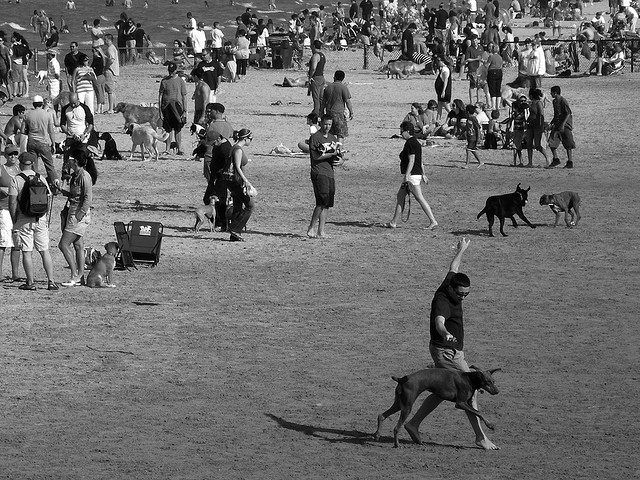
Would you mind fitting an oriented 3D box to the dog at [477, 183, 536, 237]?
[{"bbox_3d":[3.508,-0.530,25.595,1.628,0.866,0.444,-15,12,-43],"label":"dog"}]

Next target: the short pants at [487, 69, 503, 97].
[{"bbox_3d":[5.087,-4.584,39.382,0.402,0.828,0.513,-2,9,6],"label":"short pants"}]

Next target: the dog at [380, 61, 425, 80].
[{"bbox_3d":[3.204,-6.577,51.945,0.587,0.662,1.807,3,11,34],"label":"dog"}]

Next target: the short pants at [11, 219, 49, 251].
[{"bbox_3d":[-4.625,-0.088,21.827,0.517,0.487,0.265,1,-21,17],"label":"short pants"}]

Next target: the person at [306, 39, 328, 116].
[{"bbox_3d":[-0.159,-4.211,35.297,0.650,2.014,0.677,7,14,23],"label":"person"}]

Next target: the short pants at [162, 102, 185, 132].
[{"bbox_3d":[-3.509,-2.903,31.889,0.502,0.724,0.747,-4,9,-7],"label":"short pants"}]

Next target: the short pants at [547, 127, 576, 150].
[{"bbox_3d":[5.685,-2.393,31.882,0.733,0.643,0.262,3,4,32],"label":"short pants"}]

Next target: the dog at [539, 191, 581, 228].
[{"bbox_3d":[4.691,-0.584,26.031,0.602,0.721,0.972,4,11,38],"label":"dog"}]

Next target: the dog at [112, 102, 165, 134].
[{"bbox_3d":[-4.626,-3.069,34.463,1.491,0.744,0.345,8,5,13],"label":"dog"}]

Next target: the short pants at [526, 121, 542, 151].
[{"bbox_3d":[4.991,-2.429,31.503,0.312,0.668,0.534,-1,9,9],"label":"short pants"}]

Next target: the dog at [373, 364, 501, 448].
[{"bbox_3d":[1.522,2.185,17.773,1.681,0.995,0.477,2,8,-20],"label":"dog"}]

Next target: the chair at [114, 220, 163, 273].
[{"bbox_3d":[-3.215,0.153,23.717,0.689,0.916,0.961,3,-7,-9],"label":"chair"}]

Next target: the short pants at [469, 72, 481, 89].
[{"bbox_3d":[4.650,-4.795,40.558,0.327,0.492,0.685,-2,9,5],"label":"short pants"}]

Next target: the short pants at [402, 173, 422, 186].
[{"bbox_3d":[1.728,-1.139,25.271,0.235,0.170,0.228,3,4,6],"label":"short pants"}]

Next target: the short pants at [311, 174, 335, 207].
[{"bbox_3d":[0.042,-0.900,24.716,0.395,0.633,0.320,-4,9,-4],"label":"short pants"}]

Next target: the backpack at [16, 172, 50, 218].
[{"bbox_3d":[-4.650,-0.694,21.624,0.421,0.646,0.667,-4,9,-40],"label":"backpack"}]

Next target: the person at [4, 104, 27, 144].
[{"bbox_3d":[-6.313,-2.381,27.839,0.471,0.842,1.586,-5,9,-12],"label":"person"}]

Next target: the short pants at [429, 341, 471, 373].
[{"bbox_3d":[1.719,1.559,18.002,0.697,0.363,0.477,11,-6,-6],"label":"short pants"}]

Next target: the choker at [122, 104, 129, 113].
[{"bbox_3d":[-4.985,-3.346,34.315,0.074,0.261,0.061,34,-3,-11],"label":"choker"}]

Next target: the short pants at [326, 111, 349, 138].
[{"bbox_3d":[0.366,-2.705,31.576,0.403,0.666,0.804,-2,9,7],"label":"short pants"}]

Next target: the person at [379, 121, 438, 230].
[{"bbox_3d":[1.745,-1.190,25.584,0.836,2.125,1.053,-5,9,-10],"label":"person"}]

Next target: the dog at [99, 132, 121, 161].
[{"bbox_3d":[-5.044,-2.222,32.090,0.524,0.631,0.394,-6,10,-22],"label":"dog"}]

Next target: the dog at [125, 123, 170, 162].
[{"bbox_3d":[-4.157,-2.336,31.925,0.464,0.860,1.663,-5,8,-44],"label":"dog"}]

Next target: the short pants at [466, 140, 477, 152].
[{"bbox_3d":[3.501,-2.215,31.332,0.274,0.286,0.208,15,22,33],"label":"short pants"}]

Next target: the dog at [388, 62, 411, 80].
[{"bbox_3d":[3.027,-6.515,51.649,0.304,0.592,1.093,4,11,38],"label":"dog"}]

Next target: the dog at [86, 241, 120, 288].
[{"bbox_3d":[-3.644,0.454,22.586,0.574,0.671,0.372,-13,38,-18],"label":"dog"}]

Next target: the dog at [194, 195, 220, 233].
[{"bbox_3d":[-2.232,-0.477,25.743,0.520,0.735,0.488,-7,10,-27],"label":"dog"}]
